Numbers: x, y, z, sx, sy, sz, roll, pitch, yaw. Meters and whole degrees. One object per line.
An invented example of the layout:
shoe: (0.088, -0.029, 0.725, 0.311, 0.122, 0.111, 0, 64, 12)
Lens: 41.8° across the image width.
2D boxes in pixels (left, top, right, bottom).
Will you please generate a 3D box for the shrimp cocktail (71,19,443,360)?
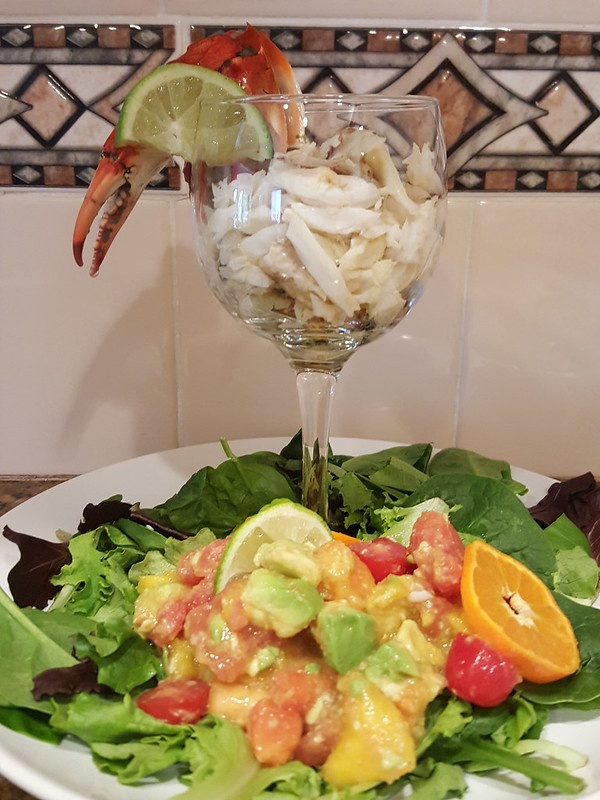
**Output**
shrimp cocktail: (-0.016, -0.150, 0.661, 0.347, 0.269, 0.187, -3, 5, 17)
